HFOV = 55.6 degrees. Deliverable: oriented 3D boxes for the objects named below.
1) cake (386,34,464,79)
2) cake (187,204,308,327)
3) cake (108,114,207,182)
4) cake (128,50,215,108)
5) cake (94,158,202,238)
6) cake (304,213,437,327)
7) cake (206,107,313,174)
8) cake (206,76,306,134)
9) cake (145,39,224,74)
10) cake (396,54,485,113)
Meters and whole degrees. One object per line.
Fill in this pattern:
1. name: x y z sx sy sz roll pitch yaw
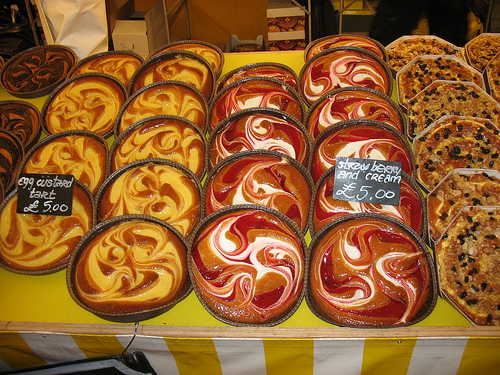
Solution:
1. cake: 1.066 -0.897 3.021 0.359 0.366 0.117 -7 -37 4
2. cake: -0.009 0.368 2.195 0.507 0.446 0.340 -1 14 -6
3. cake: -0.453 -0.224 2.563 0.414 0.369 0.099 37 -13 0
4. cake: -0.448 -0.694 2.864 0.394 0.377 0.093 -8 -19 5
5. cake: -0.479 0.038 2.342 0.418 0.441 0.133 -16 -15 4
6. cake: 0.552 0.386 2.168 0.560 0.428 0.337 2 15 8
7. cake: 0.054 -0.281 2.634 0.388 0.389 0.191 -1 -13 1
8. cake: 0.038 -0.513 2.785 0.380 0.393 0.190 -1 -19 -1
9. cake: -0.304 -0.865 3.001 0.326 0.077 0.323 -36 60 -22
10. cake: 1.082 -0.690 2.823 0.404 0.405 0.130 -2 -30 7
